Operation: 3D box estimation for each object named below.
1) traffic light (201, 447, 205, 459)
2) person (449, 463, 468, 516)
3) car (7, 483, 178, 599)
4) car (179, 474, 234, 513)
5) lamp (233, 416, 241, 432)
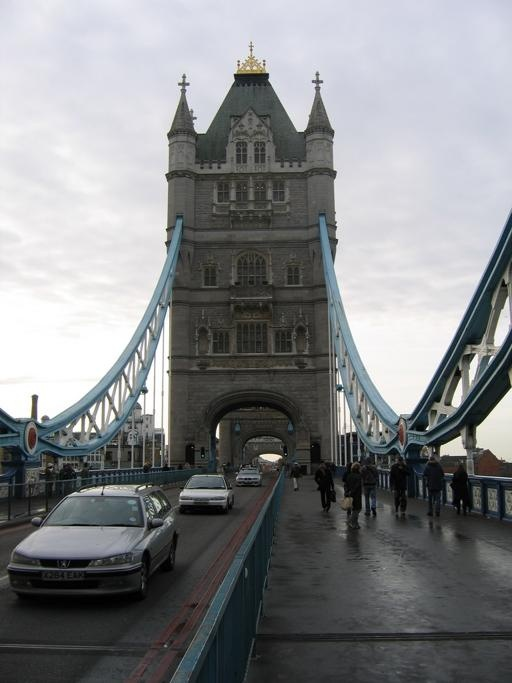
[{"bbox_3d":[-3.835,8.106,49.013,0.160,0.722,0.414,-8,-12,39],"label":"traffic light"},{"bbox_3d":[5.371,3.894,17.727,0.456,1.339,2.397,-3,-9,16],"label":"person"},{"bbox_3d":[-1.745,2.328,7.981,1.040,0.723,2.229,-3,-15,4],"label":"car"},{"bbox_3d":[-1.471,4.465,19.639,1.472,1.048,1.695,0,-9,-5],"label":"car"},{"bbox_3d":[-2.004,8.957,70.879,0.556,1.377,1.005,-6,-10,29],"label":"lamp"}]
